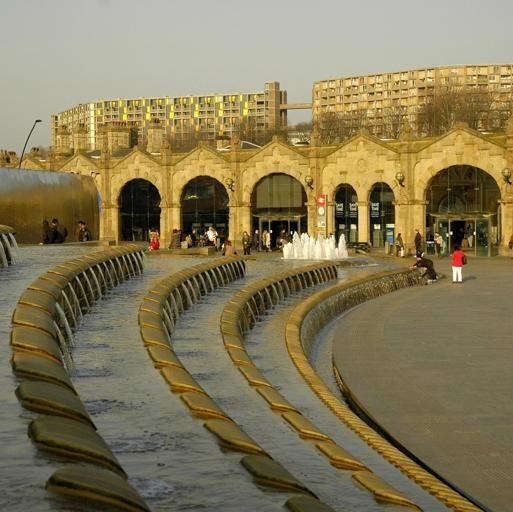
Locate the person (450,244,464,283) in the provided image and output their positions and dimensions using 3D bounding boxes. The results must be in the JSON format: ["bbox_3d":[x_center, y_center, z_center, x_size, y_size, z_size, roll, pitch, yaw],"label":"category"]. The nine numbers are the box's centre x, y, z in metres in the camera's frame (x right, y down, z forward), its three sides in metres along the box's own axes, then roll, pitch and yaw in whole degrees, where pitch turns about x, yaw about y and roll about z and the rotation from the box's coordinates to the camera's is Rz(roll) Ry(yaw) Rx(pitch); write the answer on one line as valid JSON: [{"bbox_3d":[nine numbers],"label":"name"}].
[{"bbox_3d":[6.747,0.232,27.566,0.413,1.193,2.761,-1,3,14],"label":"person"}]

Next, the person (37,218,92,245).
[{"bbox_3d":[-7.418,-0.927,31.407,0.776,0.617,1.895,15,-4,-5],"label":"person"}]

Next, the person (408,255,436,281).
[{"bbox_3d":[5.832,0.413,28.583,0.800,0.955,1.422,-1,3,11],"label":"person"}]

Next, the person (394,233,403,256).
[{"bbox_3d":[7.074,-0.555,41.005,0.373,1.075,1.665,-1,3,10],"label":"person"}]

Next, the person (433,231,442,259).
[{"bbox_3d":[9.018,-0.523,40.954,0.392,1.193,1.323,-1,3,13],"label":"person"}]
